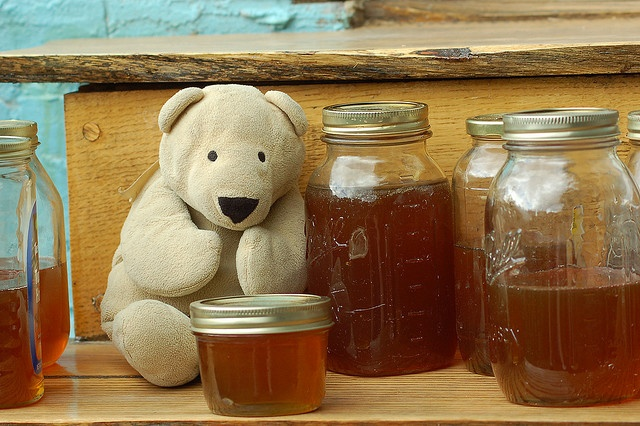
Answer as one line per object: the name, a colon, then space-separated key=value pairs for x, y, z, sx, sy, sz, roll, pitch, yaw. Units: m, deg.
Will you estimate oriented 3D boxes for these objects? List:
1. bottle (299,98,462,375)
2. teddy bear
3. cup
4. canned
bottle: x=0.093 y=0.048 z=1.094 sx=0.226 sy=0.417 sz=0.115 roll=-1 pitch=15 yaw=8
teddy bear: x=-0.201 y=0.024 z=1.210 sx=0.413 sy=0.449 sz=0.363 roll=-6 pitch=21 yaw=-26
cup: x=-0.092 y=0.194 z=1.042 sx=0.201 sy=0.117 sz=0.177 roll=-2 pitch=1 yaw=-6
canned: x=-0.082 y=0.184 z=0.976 sx=0.200 sy=0.117 sz=0.177 roll=-2 pitch=1 yaw=-6
